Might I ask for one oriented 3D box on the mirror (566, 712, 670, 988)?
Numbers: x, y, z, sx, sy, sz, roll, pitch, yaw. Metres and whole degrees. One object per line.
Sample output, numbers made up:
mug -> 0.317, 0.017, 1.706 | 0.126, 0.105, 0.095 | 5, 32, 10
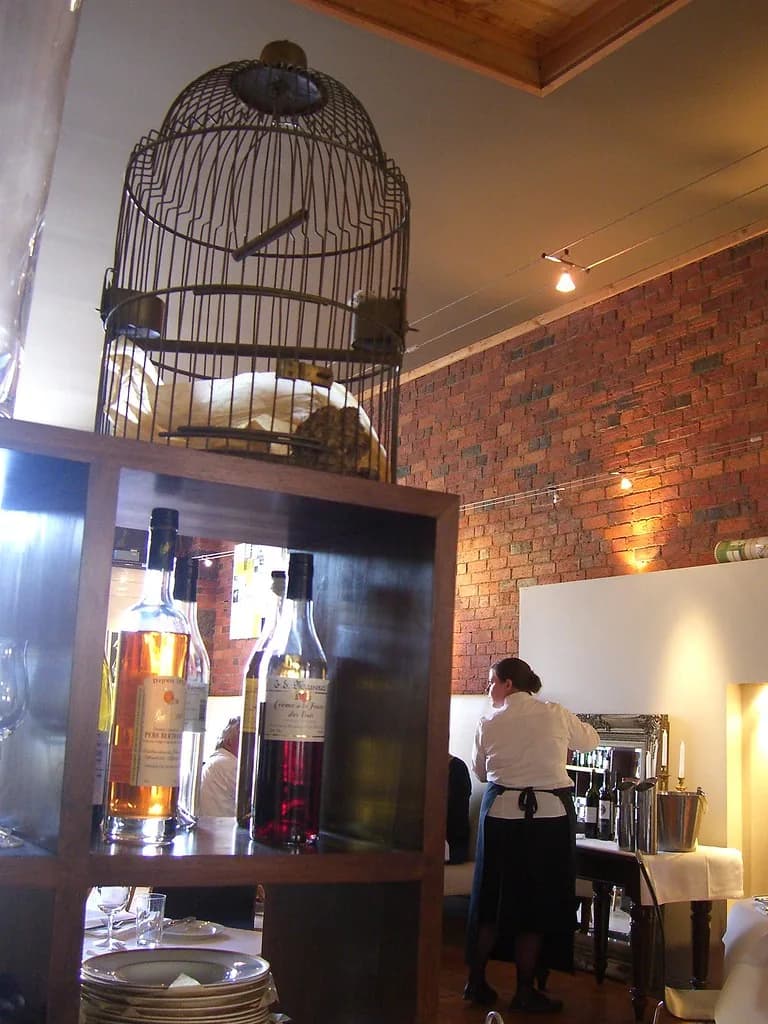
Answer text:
mirror -> 1.211, 1.762, 4.314 | 0.371, 1.128, 1.182 | 5, -18, -5

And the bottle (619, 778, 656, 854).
bottle -> 1.199, 1.427, 3.985 | 0.184, 0.348, 0.192 | 0, -6, 0

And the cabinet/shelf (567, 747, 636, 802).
cabinet/shelf -> 1.212, 1.445, 4.634 | 0.120, 0.367, 0.374 | 10, 0, -35

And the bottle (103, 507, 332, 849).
bottle -> -0.151, 0.158, 0.806 | 0.214, 0.301, 0.283 | 2, -6, -18

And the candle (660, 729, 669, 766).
candle -> 1.550, 1.292, 4.639 | 0.027, 0.196, 0.083 | -5, -8, 43

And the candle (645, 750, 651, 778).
candle -> 1.452, 1.382, 4.619 | 0.045, 0.127, 0.041 | -5, -8, 43

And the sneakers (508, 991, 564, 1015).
sneakers -> 0.714, 2.297, 3.940 | 0.235, 0.088, 0.110 | -1, -6, 7

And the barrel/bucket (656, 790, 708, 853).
barrel/bucket -> 1.399, 1.452, 3.994 | 0.246, 0.279, 0.269 | 3, -12, 1
